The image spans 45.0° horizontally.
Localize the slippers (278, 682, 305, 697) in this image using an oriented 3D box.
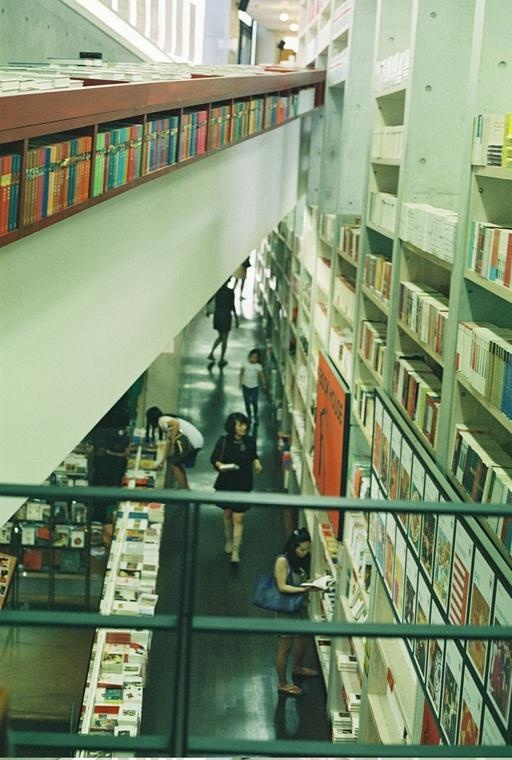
[{"bbox_3d":[0.287,2.617,5.221,0.245,0.119,0.108,3,27,-15],"label":"slippers"}]
